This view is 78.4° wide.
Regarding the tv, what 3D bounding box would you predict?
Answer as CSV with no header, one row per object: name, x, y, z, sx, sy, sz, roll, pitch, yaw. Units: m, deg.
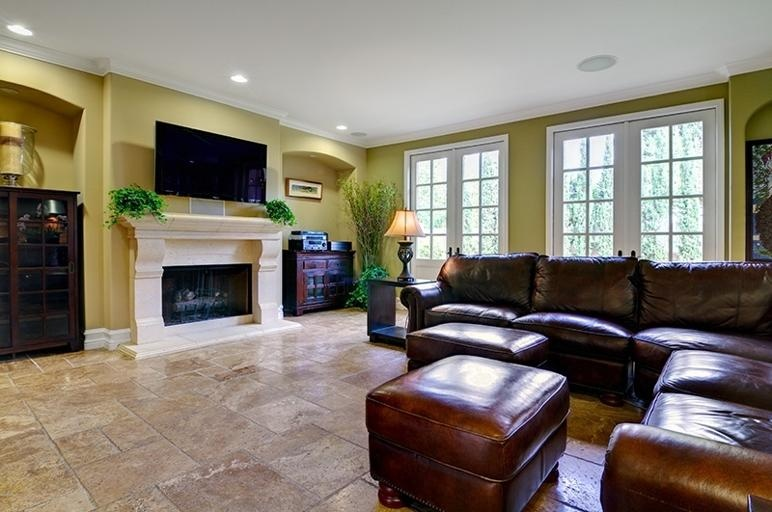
tv,-2.147,-1.118,5.685,1.329,0.747,0.129,3,0,-43

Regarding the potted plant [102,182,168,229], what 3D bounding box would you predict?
potted plant,-2.688,-0.527,5.084,0.492,0.311,0.503,2,3,23

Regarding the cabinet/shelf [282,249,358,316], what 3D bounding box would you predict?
cabinet/shelf,-1.026,0.385,7.301,0.418,0.891,1.179,4,4,40
